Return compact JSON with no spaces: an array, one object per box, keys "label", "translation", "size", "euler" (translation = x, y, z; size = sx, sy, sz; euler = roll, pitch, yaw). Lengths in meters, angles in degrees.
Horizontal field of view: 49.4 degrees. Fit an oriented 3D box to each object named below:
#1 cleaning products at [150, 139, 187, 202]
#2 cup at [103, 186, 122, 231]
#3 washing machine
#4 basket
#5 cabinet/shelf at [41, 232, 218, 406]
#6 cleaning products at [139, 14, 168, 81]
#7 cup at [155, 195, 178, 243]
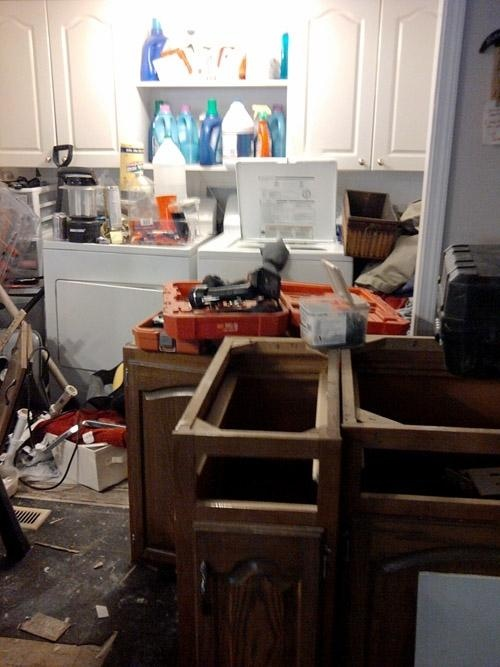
[{"label":"cleaning products","translation":[-0.422,-0.880,2.907],"size":[0.179,0.330,0.236],"euler":[-3,14,-10]},{"label":"cup","translation":[-0.708,-0.654,2.829],"size":[0.090,0.220,0.161],"euler":[-4,15,-14]},{"label":"washing machine","translation":[0.133,-0.488,2.415],"size":[0.771,0.748,0.431],"euler":[2,31,5]},{"label":"basket","translation":[0.586,-0.564,2.687],"size":[0.230,0.186,0.485],"euler":[3,28,2]},{"label":"cabinet/shelf","translation":[-0.723,-0.177,3.114],"size":[0.925,1.295,0.682],"euler":[4,12,8]},{"label":"cleaning products","translation":[-0.527,-1.542,2.959],"size":[0.165,0.311,0.070],"euler":[-1,14,-1]},{"label":"cup","translation":[-0.408,-0.554,2.722],"size":[0.102,0.294,0.095],"euler":[-1,-20,0]}]
